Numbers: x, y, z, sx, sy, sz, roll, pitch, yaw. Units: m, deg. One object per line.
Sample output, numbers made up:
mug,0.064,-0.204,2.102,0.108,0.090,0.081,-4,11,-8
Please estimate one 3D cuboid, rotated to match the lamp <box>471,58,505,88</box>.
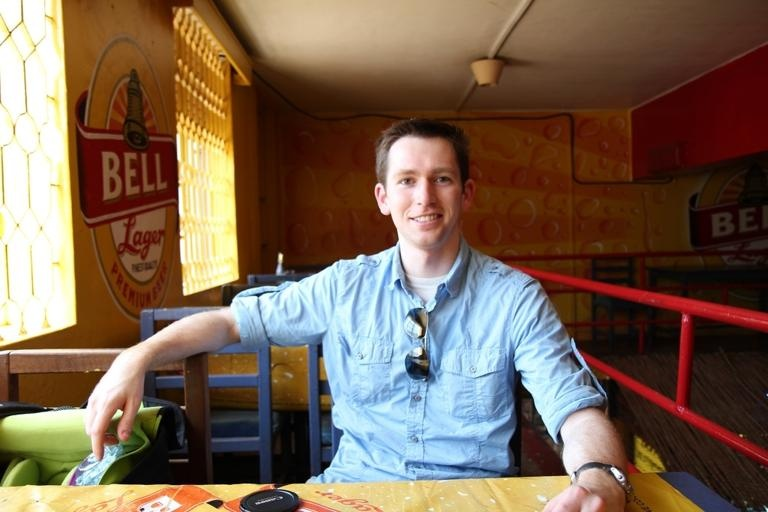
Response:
lamp,0.878,-1.536,5.340,0.214,0.138,0.217,-3,0,-7
